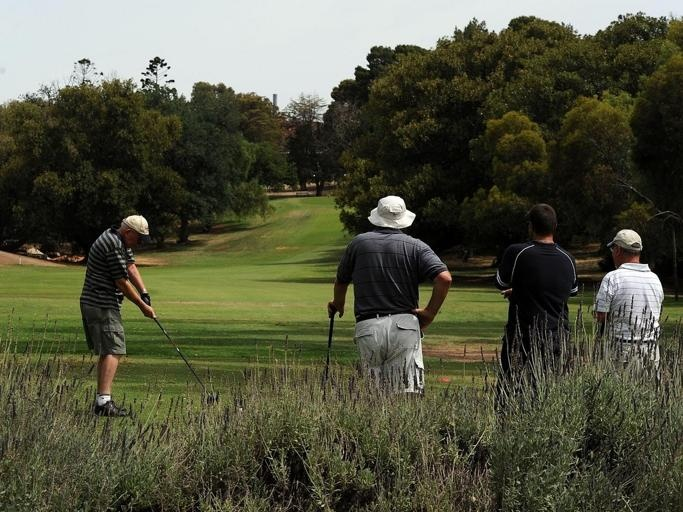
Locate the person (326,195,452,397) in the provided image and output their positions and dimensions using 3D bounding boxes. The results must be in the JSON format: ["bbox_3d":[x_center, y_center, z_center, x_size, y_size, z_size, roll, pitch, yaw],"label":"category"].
[{"bbox_3d":[0.555,0.407,11.163,1.266,2.181,0.589,2,-2,-1],"label":"person"}]

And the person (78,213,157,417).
[{"bbox_3d":[-2.802,0.684,12.429,0.847,2.452,1.340,2,-2,-15],"label":"person"}]

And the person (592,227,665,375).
[{"bbox_3d":[3.302,0.445,11.548,0.772,1.586,1.455,1,-2,17],"label":"person"}]

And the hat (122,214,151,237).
[{"bbox_3d":[-2.580,-0.365,12.620,0.369,0.242,0.258,23,12,-17],"label":"hat"}]

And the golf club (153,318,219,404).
[{"bbox_3d":[-2.477,1.671,15.865,0.150,1.199,0.194,-35,-11,-16],"label":"golf club"}]

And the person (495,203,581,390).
[{"bbox_3d":[2.182,0.390,11.221,0.900,2.003,0.926,1,-2,11],"label":"person"}]

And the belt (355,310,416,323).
[{"bbox_3d":[0.502,0.665,11.133,0.617,0.139,0.128,1,-2,9],"label":"belt"}]

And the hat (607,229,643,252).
[{"bbox_3d":[3.394,-0.208,12.037,0.260,0.228,0.381,4,2,-19],"label":"hat"}]

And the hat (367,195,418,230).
[{"bbox_3d":[0.566,-0.521,11.359,0.498,0.289,0.559,11,21,17],"label":"hat"}]
